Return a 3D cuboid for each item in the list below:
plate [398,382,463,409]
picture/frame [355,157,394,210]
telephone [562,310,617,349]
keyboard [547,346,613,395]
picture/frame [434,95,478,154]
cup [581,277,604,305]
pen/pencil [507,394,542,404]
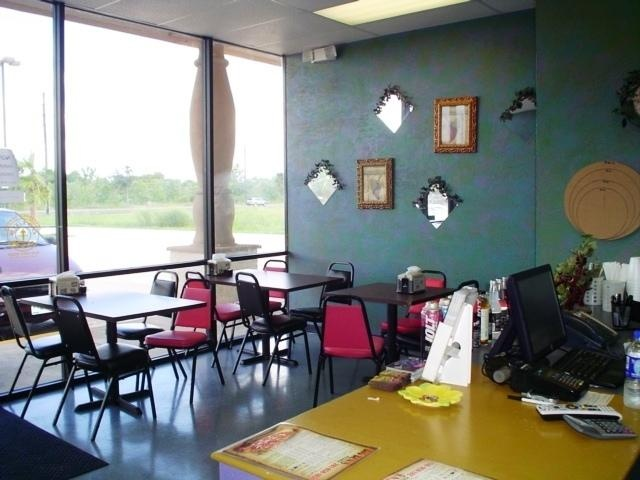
[{"bbox_3d":[0.511,0.716,2.304,0.264,0.064,0.273,3,0,-36],"label":"plate"},{"bbox_3d":[0.707,-0.712,6.396,0.579,0.637,0.048,3,7,39],"label":"picture/frame"},{"bbox_3d":[1.528,0.510,2.884,0.198,0.078,0.272,-6,11,-36],"label":"telephone"},{"bbox_3d":[1.293,0.638,2.519,0.164,0.054,0.296,-4,7,36],"label":"keyboard"},{"bbox_3d":[1.561,-1.320,5.779,0.491,0.618,0.108,3,13,30],"label":"picture/frame"},{"bbox_3d":[2.045,0.390,3.750,0.127,0.207,0.054,-2,11,6],"label":"cup"},{"bbox_3d":[0.930,0.720,2.273,0.121,0.016,0.018,10,-4,30],"label":"pen/pencil"}]
